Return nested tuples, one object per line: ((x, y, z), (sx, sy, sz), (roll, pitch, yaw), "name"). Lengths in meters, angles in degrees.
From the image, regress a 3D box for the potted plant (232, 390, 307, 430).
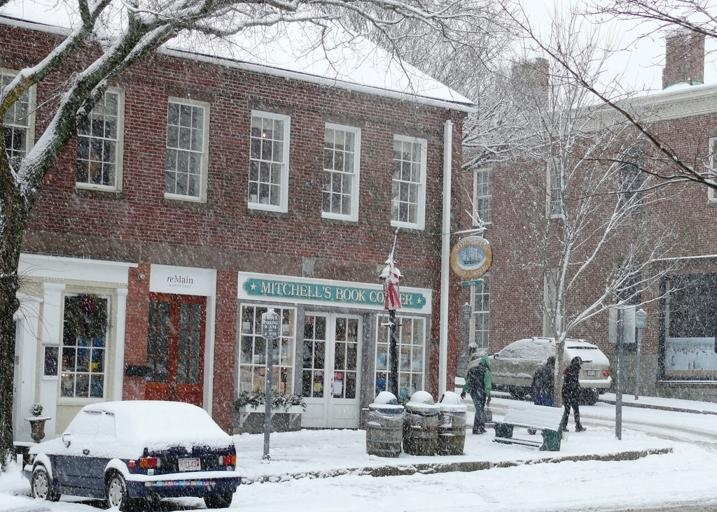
((-2.265, 4.047, 36.705), (1.846, 1.062, 0.347), (5, -9, -27), "potted plant")

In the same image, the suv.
((5.700, 3.841, 45.677), (2.019, 1.867, 4.320), (2, 0, -40), "suv")

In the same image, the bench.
((4.226, 4.317, 35.581), (0.648, 1.183, 1.896), (8, -12, -42), "bench")

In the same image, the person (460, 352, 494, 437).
((3.121, 3.627, 37.490), (0.728, 1.998, 0.486), (12, 18, 38), "person")

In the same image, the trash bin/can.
((1.339, 3.980, 33.744), (2.360, 1.594, 0.648), (4, -9, -21), "trash bin/can")
